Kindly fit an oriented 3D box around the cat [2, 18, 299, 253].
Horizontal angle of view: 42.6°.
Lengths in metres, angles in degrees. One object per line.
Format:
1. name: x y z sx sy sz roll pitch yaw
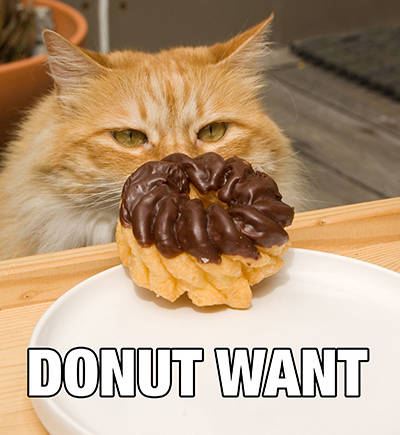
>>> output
1. cat: -0.102 -0.173 1.006 0.672 0.355 0.402 3 29 0
